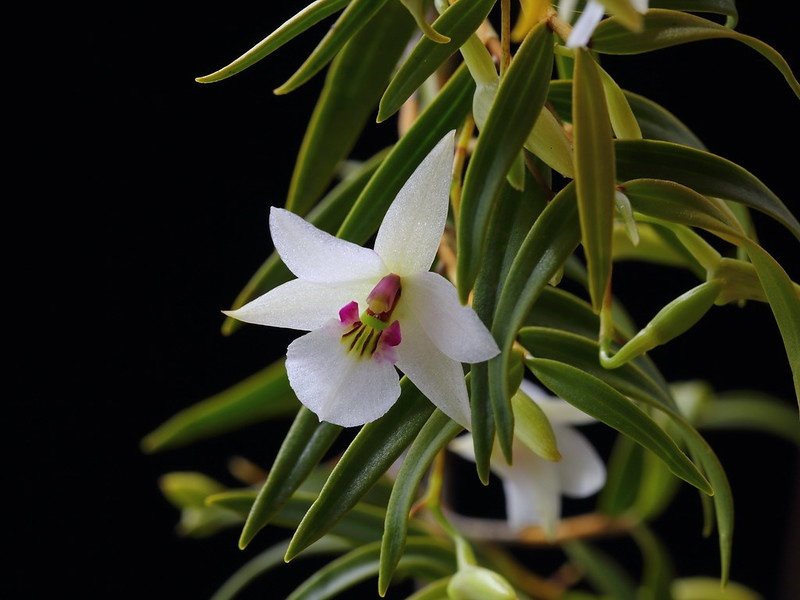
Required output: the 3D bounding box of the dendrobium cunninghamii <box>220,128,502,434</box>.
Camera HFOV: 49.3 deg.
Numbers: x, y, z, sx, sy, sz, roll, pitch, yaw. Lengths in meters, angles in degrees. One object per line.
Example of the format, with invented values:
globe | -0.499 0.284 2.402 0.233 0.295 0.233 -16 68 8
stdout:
dendrobium cunninghamii | -0.018 0.025 1.002 0.298 0.322 0.117 38 12 24
